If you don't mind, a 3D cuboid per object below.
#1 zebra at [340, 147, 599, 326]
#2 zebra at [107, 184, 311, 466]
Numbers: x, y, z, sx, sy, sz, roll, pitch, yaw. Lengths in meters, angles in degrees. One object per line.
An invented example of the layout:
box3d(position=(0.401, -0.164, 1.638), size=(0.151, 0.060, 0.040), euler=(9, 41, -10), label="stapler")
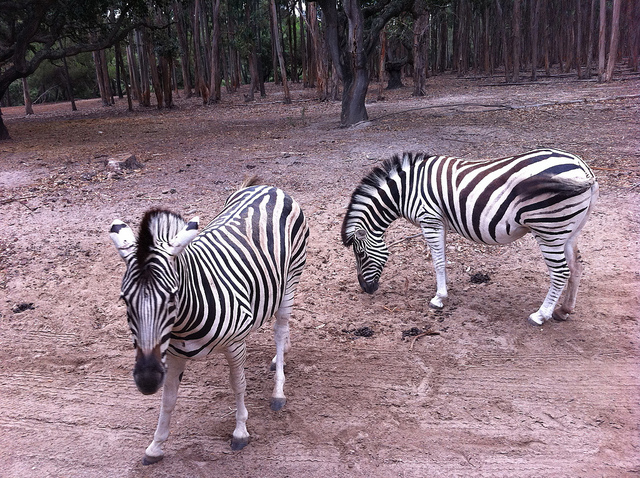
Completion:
box3d(position=(1.692, -0.055, 7.580), size=(3.281, 2.023, 1.101), euler=(5, 15, 30), label="zebra")
box3d(position=(-1.035, 0.748, 6.422), size=(1.001, 2.688, 3.775), euler=(1, 12, 13), label="zebra")
